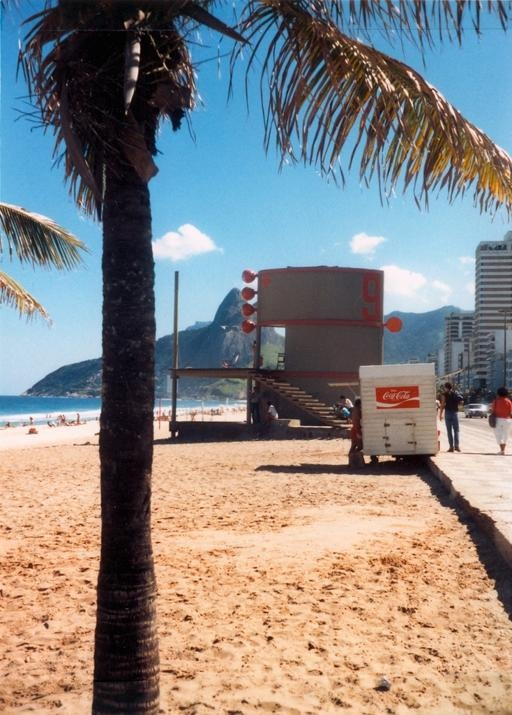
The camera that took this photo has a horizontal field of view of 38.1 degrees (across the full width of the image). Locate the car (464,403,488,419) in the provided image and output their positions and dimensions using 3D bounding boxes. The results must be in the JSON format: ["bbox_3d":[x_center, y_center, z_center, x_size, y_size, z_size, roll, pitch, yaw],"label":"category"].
[{"bbox_3d":[17.028,4.107,57.619,1.269,0.931,2.170,-1,-7,0],"label":"car"}]

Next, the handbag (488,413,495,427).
[{"bbox_3d":[5.005,1.325,15.734,0.097,0.269,0.199,2,-8,5],"label":"handbag"}]
